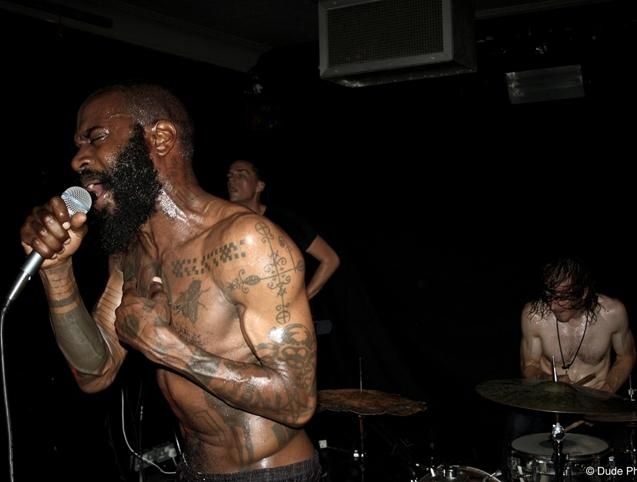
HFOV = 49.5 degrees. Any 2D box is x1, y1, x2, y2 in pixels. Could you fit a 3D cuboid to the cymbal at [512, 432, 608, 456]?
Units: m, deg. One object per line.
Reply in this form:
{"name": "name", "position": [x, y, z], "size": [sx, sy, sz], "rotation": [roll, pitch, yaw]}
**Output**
{"name": "cymbal", "position": [1.451, 1.224, 4.149], "size": [0.541, 0.050, 0.455], "rotation": [-4, -2, 24]}
